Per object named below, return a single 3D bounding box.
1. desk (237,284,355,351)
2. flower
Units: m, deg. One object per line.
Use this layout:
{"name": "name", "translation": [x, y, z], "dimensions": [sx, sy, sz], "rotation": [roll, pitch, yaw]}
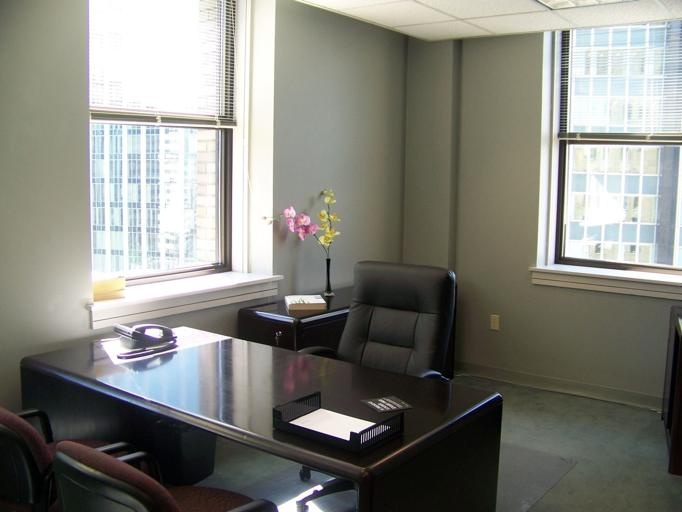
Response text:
{"name": "desk", "translation": [-0.269, 0.613, 4.005], "dimensions": [0.415, 0.545, 0.798], "rotation": [7, 8, 29]}
{"name": "flower", "translation": [-0.310, -0.289, 4.249], "dimensions": [0.553, 0.439, 0.346], "rotation": [2, 9, 12]}
